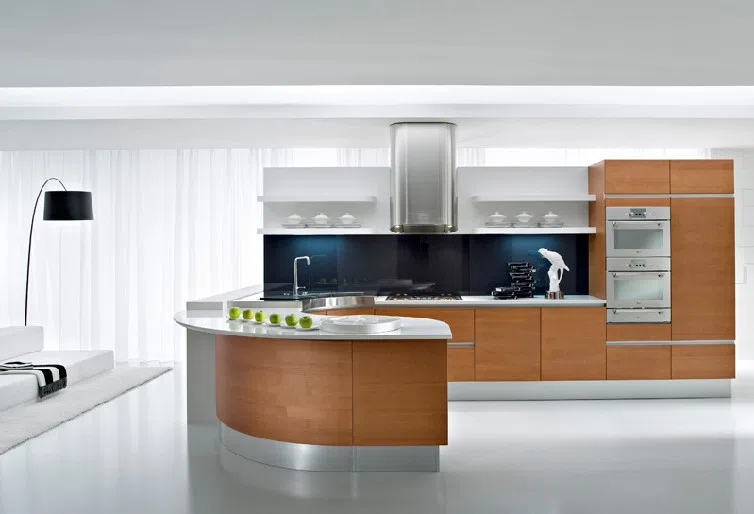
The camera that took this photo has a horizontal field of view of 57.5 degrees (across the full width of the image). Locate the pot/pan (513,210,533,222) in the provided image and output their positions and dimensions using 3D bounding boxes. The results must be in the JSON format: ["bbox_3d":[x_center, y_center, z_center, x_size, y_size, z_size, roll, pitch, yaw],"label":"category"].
[{"bbox_3d":[1.830,-0.482,8.484,0.253,0.148,0.131,0,-5,0],"label":"pot/pan"}]

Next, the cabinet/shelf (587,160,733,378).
[{"bbox_3d":[3.423,0.123,7.990,1.482,2.448,0.917,-3,15,-9],"label":"cabinet/shelf"}]

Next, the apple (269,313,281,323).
[{"bbox_3d":[-0.945,0.557,6.343,0.099,0.085,0.092,0,-2,-2],"label":"apple"}]

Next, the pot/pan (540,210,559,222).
[{"bbox_3d":[2.151,-0.477,8.465,0.220,0.124,0.124,0,-7,3],"label":"pot/pan"}]

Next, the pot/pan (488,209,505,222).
[{"bbox_3d":[1.502,-0.493,8.554,0.202,0.135,0.232,2,14,8],"label":"pot/pan"}]

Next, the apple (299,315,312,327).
[{"bbox_3d":[-0.643,0.571,6.169,0.115,0.093,0.106,1,-4,-4],"label":"apple"}]

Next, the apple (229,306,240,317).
[{"bbox_3d":[-1.362,0.522,6.605,0.105,0.101,0.103,3,3,13],"label":"apple"}]

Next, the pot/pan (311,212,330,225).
[{"bbox_3d":[-0.688,-0.476,8.565,0.169,0.099,0.165,-2,-6,27],"label":"pot/pan"}]

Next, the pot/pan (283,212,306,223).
[{"bbox_3d":[-1.014,-0.486,8.559,0.158,0.077,0.149,0,-3,14],"label":"pot/pan"}]

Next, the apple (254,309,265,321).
[{"bbox_3d":[-1.119,0.543,6.430,0.111,0.106,0.100,4,-3,-22],"label":"apple"}]

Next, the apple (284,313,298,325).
[{"bbox_3d":[-0.785,0.556,6.223,0.099,0.113,0.148,-2,14,-5],"label":"apple"}]

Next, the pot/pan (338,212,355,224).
[{"bbox_3d":[-0.381,-0.481,8.618,0.212,0.128,0.254,-1,13,-5],"label":"pot/pan"}]

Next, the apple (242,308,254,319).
[{"bbox_3d":[-1.224,0.533,6.521,0.103,0.090,0.097,-1,6,-32],"label":"apple"}]

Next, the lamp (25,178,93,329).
[{"bbox_3d":[-4.425,-0.045,9.442,0.998,2.066,1.288,-9,17,-28],"label":"lamp"}]

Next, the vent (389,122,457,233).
[{"bbox_3d":[0.523,-0.896,7.737,0.743,1.230,0.307,-1,15,-1],"label":"vent"}]
